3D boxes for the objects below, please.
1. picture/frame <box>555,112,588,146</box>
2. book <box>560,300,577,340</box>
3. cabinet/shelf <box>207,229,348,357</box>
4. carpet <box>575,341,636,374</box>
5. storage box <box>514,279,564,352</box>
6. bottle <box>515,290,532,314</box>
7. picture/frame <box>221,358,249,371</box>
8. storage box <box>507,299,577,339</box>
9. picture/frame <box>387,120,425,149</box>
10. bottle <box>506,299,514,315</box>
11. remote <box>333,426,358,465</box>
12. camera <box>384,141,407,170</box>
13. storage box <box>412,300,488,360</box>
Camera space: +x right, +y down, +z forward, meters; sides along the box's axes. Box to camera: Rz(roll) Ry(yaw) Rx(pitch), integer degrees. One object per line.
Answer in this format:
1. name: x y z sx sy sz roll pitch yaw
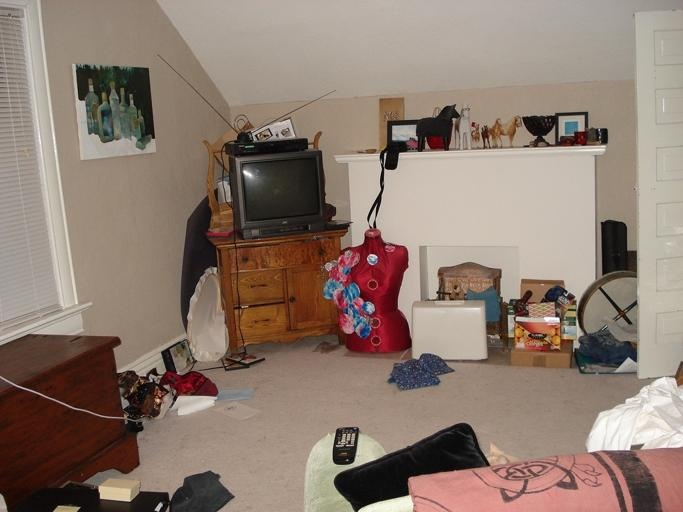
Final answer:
1. picture/frame: 1.834 -1.022 4.391 0.309 0.378 0.025 -2 6 -11
2. book: 1.736 0.488 4.203 0.132 0.262 0.255 1 13 18
3. cabinet/shelf: -0.536 0.282 4.535 0.919 0.905 0.369 -4 8 -12
4. carpet: 1.928 0.729 3.983 0.262 0.095 0.283 -4 41 24
5. storage box: 1.487 0.448 4.288 0.420 0.698 0.479 1 4 22
6. bottle: 1.409 0.367 4.246 0.080 0.239 0.084 21 -10 4
7. picture/frame: -0.880 0.870 4.406 0.281 0.047 0.145 4 12 28
8. storage box: 1.606 0.476 4.356 0.519 0.297 0.341 2 -2 5
9. picture/frame: 0.555 -1.028 4.633 0.279 0.304 0.019 1 -3 2
10. bottle: 1.339 0.405 4.362 0.088 0.120 0.092 0 1 0
11. remote: 0.014 0.679 1.982 0.084 0.159 0.013 2 16 -10
12. camera: 0.448 -0.836 4.540 0.183 0.216 0.102 -2 10 -2
13. storage box: 0.833 0.569 4.434 0.605 0.467 0.336 -3 7 3
